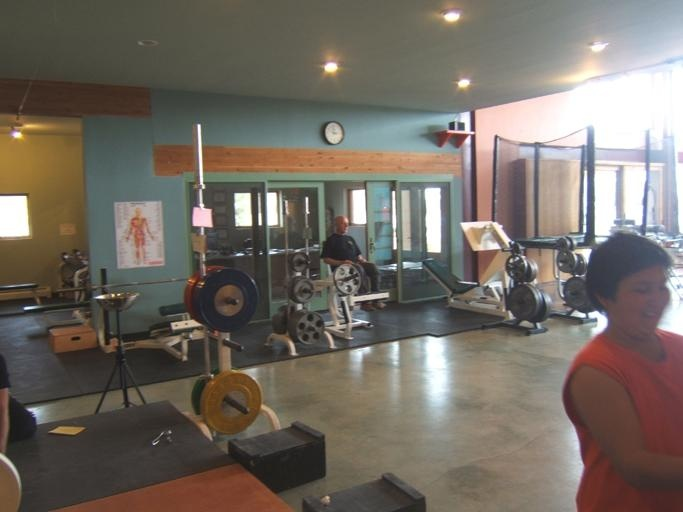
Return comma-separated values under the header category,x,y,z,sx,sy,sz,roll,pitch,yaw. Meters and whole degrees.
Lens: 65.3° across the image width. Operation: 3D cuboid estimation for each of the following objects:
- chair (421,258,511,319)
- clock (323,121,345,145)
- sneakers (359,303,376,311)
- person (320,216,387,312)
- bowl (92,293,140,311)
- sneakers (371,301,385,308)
category,x,y,z,sx,sy,sz,roll,pitch,yaw
chair,2.089,0.567,8.786,0.708,0.588,1.433,-4,7,-40
clock,-0.121,-2.086,8.984,0.385,0.361,0.089,7,-4,-39
sneakers,0.457,0.878,9.144,0.116,0.087,0.212,0,-4,-38
person,0.157,-0.006,8.496,0.914,1.274,0.489,-7,10,-35
bowl,-2.021,0.419,4.787,0.311,0.194,0.407,-5,8,-24
sneakers,0.689,0.854,9.342,0.087,0.109,0.245,-3,-3,42
